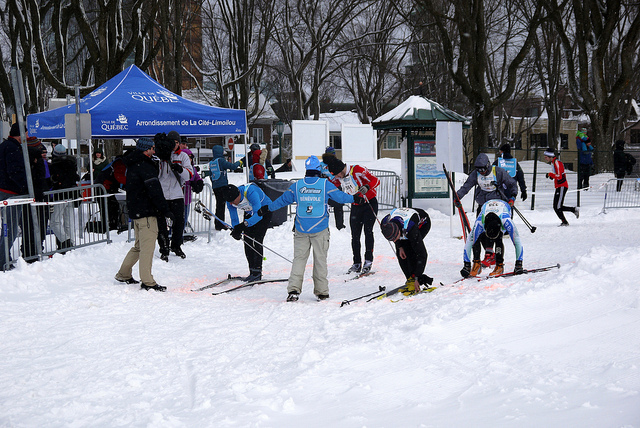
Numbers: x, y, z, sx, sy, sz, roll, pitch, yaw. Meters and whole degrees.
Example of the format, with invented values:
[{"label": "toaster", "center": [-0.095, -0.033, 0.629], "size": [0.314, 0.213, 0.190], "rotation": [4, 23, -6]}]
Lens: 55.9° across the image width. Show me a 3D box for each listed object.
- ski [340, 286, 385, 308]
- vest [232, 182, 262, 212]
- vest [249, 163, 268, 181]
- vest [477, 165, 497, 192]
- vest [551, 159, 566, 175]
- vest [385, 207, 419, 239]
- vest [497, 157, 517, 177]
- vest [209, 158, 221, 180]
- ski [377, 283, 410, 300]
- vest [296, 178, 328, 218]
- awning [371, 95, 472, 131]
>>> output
[{"label": "ski", "center": [0.761, 1.479, 10.687], "size": [1.157, 0.147, 0.208], "rotation": [-13, 16, -42]}, {"label": "vest", "center": [-1.444, -0.288, 11.583], "size": [0.336, 0.544, 0.424], "rotation": [1, 11, 15]}, {"label": "vest", "center": [-1.782, -1.103, 16.045], "size": [0.405, 0.416, 0.399], "rotation": [3, 8, 7]}, {"label": "vest", "center": [3.602, -0.771, 12.905], "size": [0.447, 0.709, 0.376], "rotation": [1, 12, 32]}, {"label": "vest", "center": [6.959, -1.300, 17.717], "size": [0.456, 0.488, 0.430], "rotation": [0, 14, 11]}, {"label": "vest", "center": [1.500, 0.127, 10.915], "size": [0.479, 0.532, 0.544], "rotation": [7, 5, 20]}, {"label": "vest", "center": [4.891, -1.220, 15.761], "size": [0.679, 0.738, 0.096], "rotation": [0, 0, 0]}, {"label": "vest", "center": [-2.671, -1.146, 15.750], "size": [0.379, 0.757, 0.526], "rotation": [-3, 3, -13]}, {"label": "ski", "center": [1.287, 1.357, 10.636], "size": [0.653, 0.185, 0.164], "rotation": [-9, 13, -31]}, {"label": "vest", "center": [-0.154, -0.354, 10.855], "size": [0.651, 0.868, 0.442], "rotation": [0, 21, 0]}, {"label": "awning", "center": [3.483, -3.487, 20.059], "size": [2.401, 0.681, 2.487], "rotation": [-14, 22, -23]}]
